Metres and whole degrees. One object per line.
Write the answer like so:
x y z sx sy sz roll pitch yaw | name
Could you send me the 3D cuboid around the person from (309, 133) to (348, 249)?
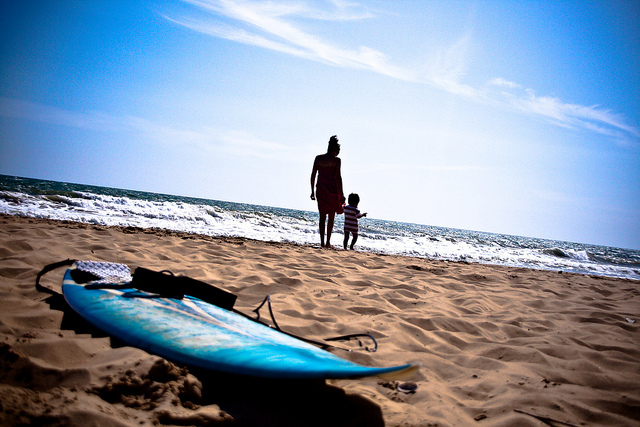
0.123 -0.370 9.056 0.688 2.220 0.765 8 12 2 | person
